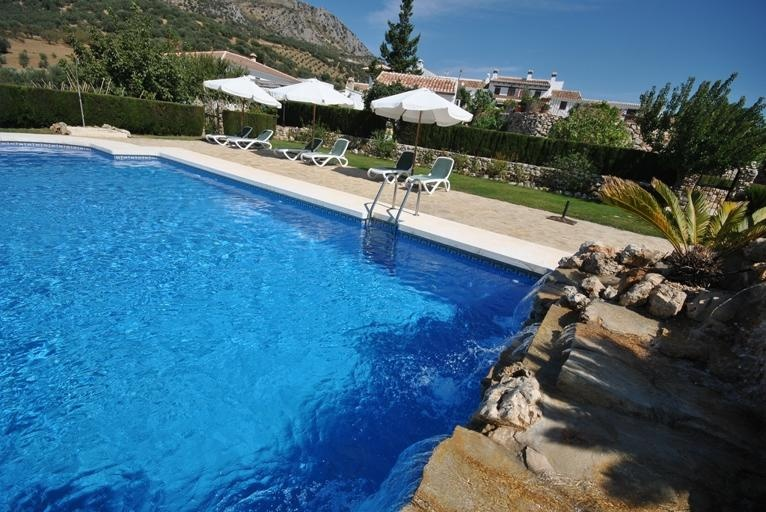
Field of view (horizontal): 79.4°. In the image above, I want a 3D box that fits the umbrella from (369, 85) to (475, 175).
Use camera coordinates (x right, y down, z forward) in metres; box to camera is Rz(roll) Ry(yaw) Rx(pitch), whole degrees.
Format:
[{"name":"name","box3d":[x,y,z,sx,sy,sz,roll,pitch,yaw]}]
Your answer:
[{"name":"umbrella","box3d":[1.140,-4.491,15.920,2.949,2.558,3.225,-1,22,-33]}]
